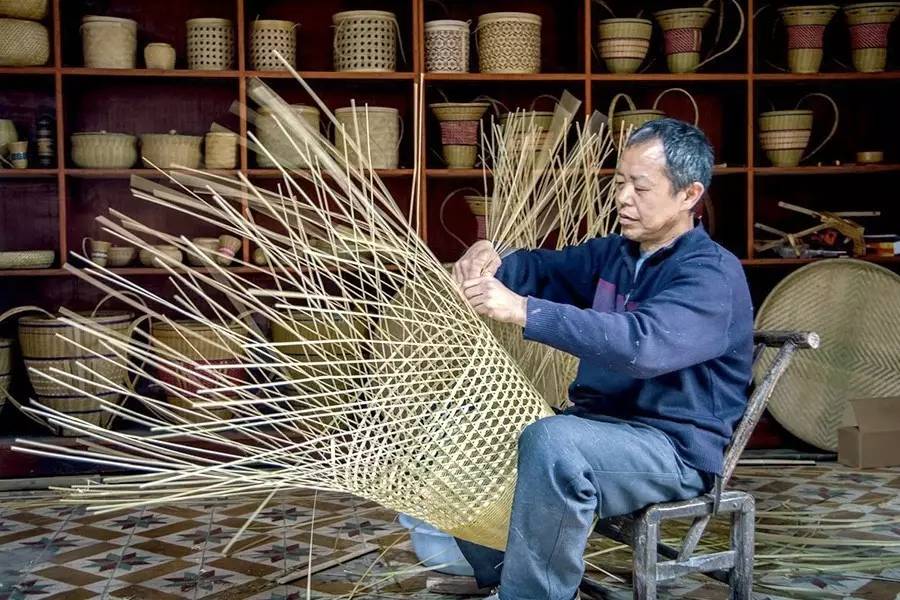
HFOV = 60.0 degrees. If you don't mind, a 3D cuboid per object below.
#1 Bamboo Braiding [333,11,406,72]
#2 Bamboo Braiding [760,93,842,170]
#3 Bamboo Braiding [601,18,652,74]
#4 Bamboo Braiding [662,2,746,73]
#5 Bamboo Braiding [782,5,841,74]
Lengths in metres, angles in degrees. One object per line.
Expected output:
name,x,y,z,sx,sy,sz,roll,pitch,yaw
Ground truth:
Bamboo Braiding,-0.409,-1.223,3.810,0.357,0.209,0.323,3,9,15
Bamboo Braiding,1.805,-0.882,4.020,0.274,0.390,0.536,9,14,38
Bamboo Braiding,0.856,-1.252,3.931,0.306,0.234,0.278,4,9,25
Bamboo Braiding,1.207,-1.294,3.998,0.541,0.358,0.371,-2,8,-6
Bamboo Braiding,1.750,-1.274,3.846,0.254,0.327,0.158,2,13,11
